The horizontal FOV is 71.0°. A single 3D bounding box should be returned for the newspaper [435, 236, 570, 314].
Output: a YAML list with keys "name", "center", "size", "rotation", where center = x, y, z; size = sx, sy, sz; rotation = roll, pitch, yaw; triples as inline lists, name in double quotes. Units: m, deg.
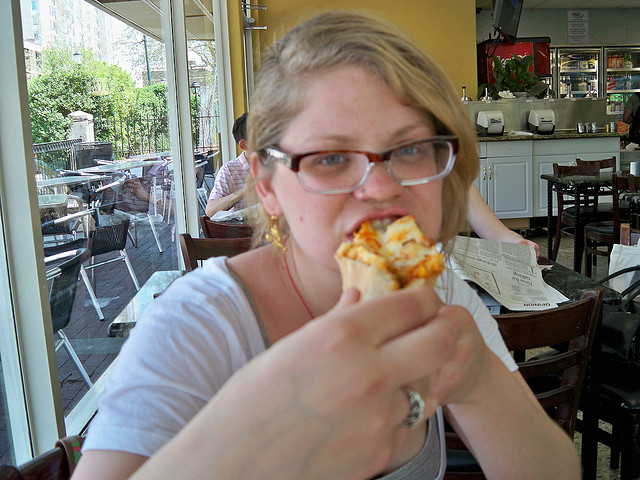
- name: "newspaper"
  center: [0.644, 0.125, 1.634]
  size: [0.341, 0.101, 0.393]
  rotation: [-1, 35, 9]

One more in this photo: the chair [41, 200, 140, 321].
- name: "chair"
  center: [-1.149, 0.042, 2.251]
  size: [0.391, 0.540, 0.447]
  rotation: [6, 20, 1]

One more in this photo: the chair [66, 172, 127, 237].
- name: "chair"
  center: [-1.054, -0.134, 1.975]
  size: [0.157, 0.213, 0.160]
  rotation: [11, -9, -13]

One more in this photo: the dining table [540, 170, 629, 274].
- name: "dining table"
  center: [2.687, -0.286, 4.650]
  size: [0.707, 0.743, 0.522]
  rotation: [-9, 1, 14]

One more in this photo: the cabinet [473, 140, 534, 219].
- name: "cabinet"
  center: [2.797, -1.024, 6.700]
  size: [0.927, 1.355, 0.816]
  rotation: [-6, 23, 13]

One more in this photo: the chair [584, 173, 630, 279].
- name: "chair"
  center: [2.728, -0.132, 4.264]
  size: [0.388, 0.852, 0.433]
  rotation: [-12, 5, -31]

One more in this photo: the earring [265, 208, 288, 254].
- name: "earring"
  center: [-0.091, -0.021, 0.929]
  size: [0.042, 0.097, 0.094]
  rotation: [-3, 10, -8]

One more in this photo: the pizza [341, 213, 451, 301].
- name: "pizza"
  center: [0.120, 0.022, 0.704]
  size: [0.136, 0.059, 0.128]
  rotation: [-14, 56, -7]

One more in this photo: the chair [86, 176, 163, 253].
- name: "chair"
  center: [-1.169, -0.169, 2.775]
  size: [0.347, 0.505, 0.378]
  rotation: [-7, 11, -21]

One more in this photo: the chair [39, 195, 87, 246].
- name: "chair"
  center: [-0.977, -0.080, 1.717]
  size: [0.156, 0.230, 0.152]
  rotation: [-4, 8, -36]

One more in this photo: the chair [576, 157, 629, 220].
- name: "chair"
  center: [3.171, -0.623, 5.130]
  size: [0.424, 0.785, 0.487]
  rotation: [-6, -11, 42]

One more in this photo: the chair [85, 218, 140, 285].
- name: "chair"
  center: [-1.086, 0.061, 2.299]
  size: [0.242, 0.362, 0.280]
  rotation: [-10, 11, -32]
